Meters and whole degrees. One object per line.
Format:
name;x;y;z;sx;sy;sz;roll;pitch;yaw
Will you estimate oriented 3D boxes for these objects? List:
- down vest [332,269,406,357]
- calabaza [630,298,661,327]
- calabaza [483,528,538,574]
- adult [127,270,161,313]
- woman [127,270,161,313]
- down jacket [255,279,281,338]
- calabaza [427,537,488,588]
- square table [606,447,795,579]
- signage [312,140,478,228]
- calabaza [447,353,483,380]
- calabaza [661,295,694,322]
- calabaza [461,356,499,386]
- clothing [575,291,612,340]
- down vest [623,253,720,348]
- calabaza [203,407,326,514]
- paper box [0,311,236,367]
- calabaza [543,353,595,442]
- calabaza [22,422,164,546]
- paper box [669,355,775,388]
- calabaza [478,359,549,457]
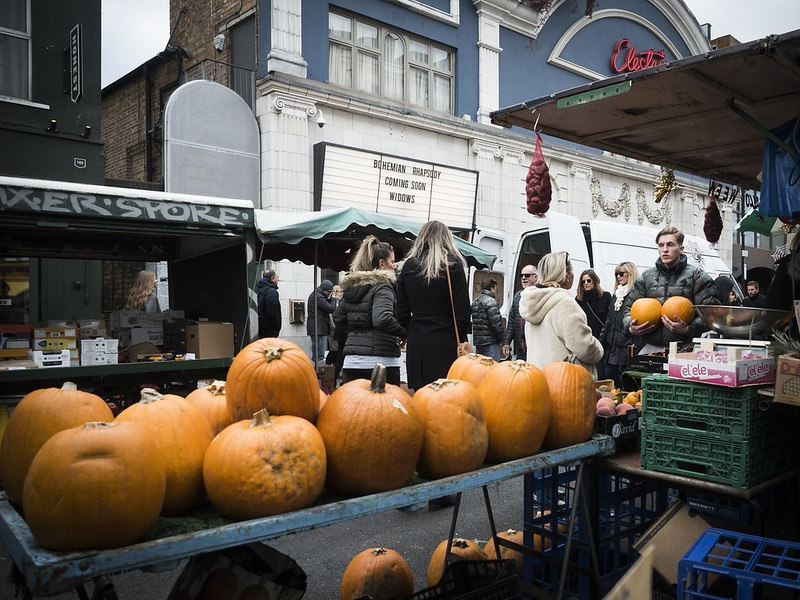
down vest;-0.387;0.143;6.629;0.669;1.009;0.947;0;-2;-40
calabaza;2.031;0.086;5.502;0.190;0.227;0.212;2;11;3
calabaza;0.677;1.607;4.345;0.216;0.236;0.235;0;-9;13
adult;-3.821;-0.130;10.086;0.524;0.735;0.407;8;7;18
woman;-3.821;-0.130;10.086;0.524;0.735;0.407;8;7;18
down jacket;-2.117;0.108;10.888;0.336;0.700;0.602;-2;2;-14
calabaza;0.361;1.628;4.208;0.299;0.318;0.319;6;-23;-14
square table;1.624;1.142;3.724;0.536;0.382;0.526;-4;-4;37
signage;-0.192;-2.473;14.001;2.541;1.033;0.489;4;-10;-38
calabaza;0.392;0.392;4.008;0.143;0.203;0.158;1;-7;-6
calabaza;2.207;0.077;5.311;0.238;0.212;0.174;-2;2;19
calabaza;0.477;0.406;3.973;0.165;0.179;0.171;1;-6;-29
clothing;2.224;0.172;7.606;0.472;0.589;0.300;-2;-4;16
down vest;2.410;0.015;6.021;0.490;0.933;0.884;15;-17;-25
calabaza;-0.595;0.662;3.004;0.438;0.430;0.433;-9;7;-44
paper box;-3.053;0.476;7.498;2.397;0.485;0.713;-4;3;-29
calabaza;0.946;0.573;3.712;0.346;0.499;0.347;-3;-4;36
calabaza;-1.194;0.742;2.799;0.448;0.527;0.463;-5;-11;17
paper box;1.775;0.390;3.599;0.581;0.164;0.224;-2;2;2
calabaza;0.605;0.566;3.504;0.393;0.555;0.423;5;-4;-7
